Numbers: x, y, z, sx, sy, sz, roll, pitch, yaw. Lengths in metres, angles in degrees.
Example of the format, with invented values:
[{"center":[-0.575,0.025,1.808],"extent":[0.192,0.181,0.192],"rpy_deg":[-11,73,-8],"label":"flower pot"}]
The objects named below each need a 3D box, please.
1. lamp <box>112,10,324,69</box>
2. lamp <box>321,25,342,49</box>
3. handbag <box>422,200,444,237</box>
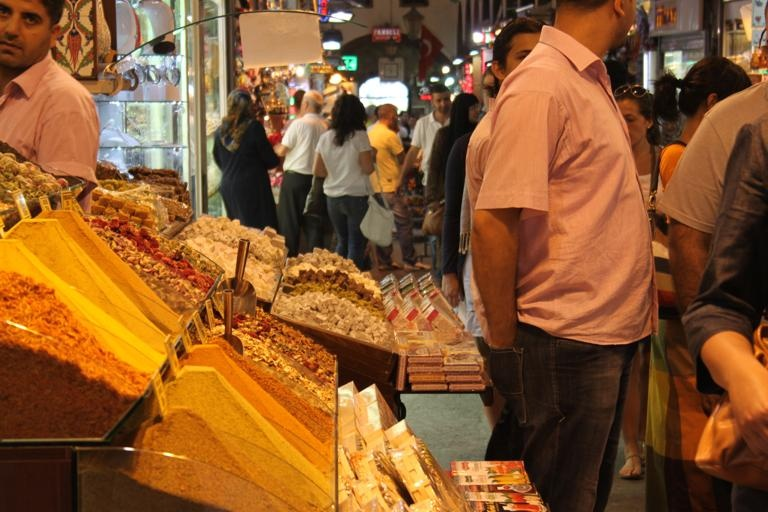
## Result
[{"center":[-1.112,-1.543,4.737],"extent":[1.250,0.326,0.736],"rpy_deg":[-5,8,-6],"label":"lamp"},{"center":[-1.199,-4.848,14.877],"extent":[0.396,0.482,0.664],"rpy_deg":[-1,8,-6],"label":"lamp"},{"center":[0.325,-0.254,4.688],"extent":[0.096,0.222,0.168],"rpy_deg":[7,11,0],"label":"handbag"}]
